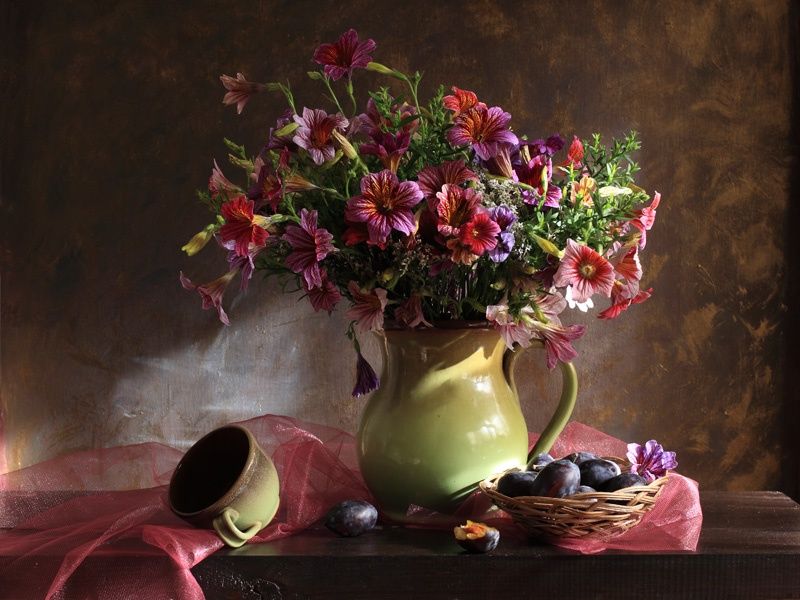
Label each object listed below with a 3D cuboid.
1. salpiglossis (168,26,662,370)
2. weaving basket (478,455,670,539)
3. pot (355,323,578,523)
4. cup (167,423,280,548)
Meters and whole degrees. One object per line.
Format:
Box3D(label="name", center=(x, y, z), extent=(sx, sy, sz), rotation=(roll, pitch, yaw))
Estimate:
Box3D(label="salpiglossis", center=(0.055, -0.118, 1.116), extent=(0.610, 0.465, 0.493), rotation=(1, -16, 5))
Box3D(label="weaving basket", center=(0.235, 0.287, 1.104), extent=(0.253, 0.094, 0.095), rotation=(4, 1, 12))
Box3D(label="pot", center=(0.090, 0.191, 1.238), extent=(0.305, 0.323, 0.242), rotation=(3, -8, -9))
Box3D(label="cup", center=(-0.257, 0.264, 1.156), extent=(0.139, 0.112, 0.109), rotation=(4, 1, 32))
